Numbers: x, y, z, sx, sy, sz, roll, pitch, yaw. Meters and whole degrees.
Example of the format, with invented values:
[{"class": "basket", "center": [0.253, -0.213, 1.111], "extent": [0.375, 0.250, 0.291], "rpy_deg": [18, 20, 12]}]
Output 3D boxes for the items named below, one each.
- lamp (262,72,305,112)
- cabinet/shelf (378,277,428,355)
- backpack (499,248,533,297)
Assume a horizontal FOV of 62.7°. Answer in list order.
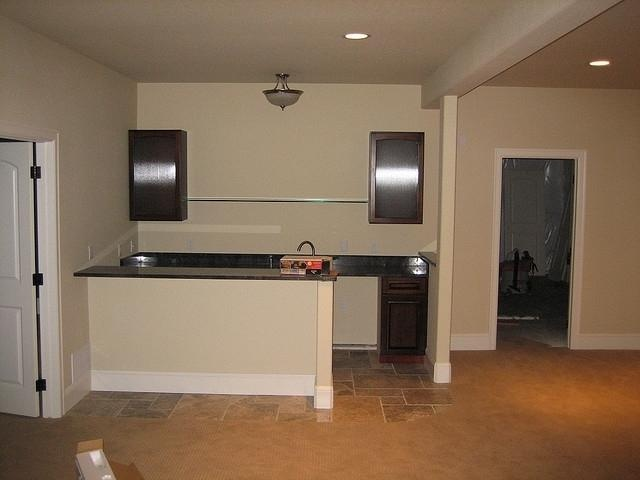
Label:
[{"class": "lamp", "center": [-0.389, -1.584, 5.687], "extent": [0.456, 0.396, 0.461], "rpy_deg": [0, 3, 7]}, {"class": "cabinet/shelf", "center": [1.071, 1.021, 6.492], "extent": [0.622, 1.092, 0.604], "rpy_deg": [-4, -21, 22]}, {"class": "backpack", "center": [3.751, 0.626, 9.935], "extent": [0.778, 0.809, 0.399], "rpy_deg": [-2, -5, 30]}]
